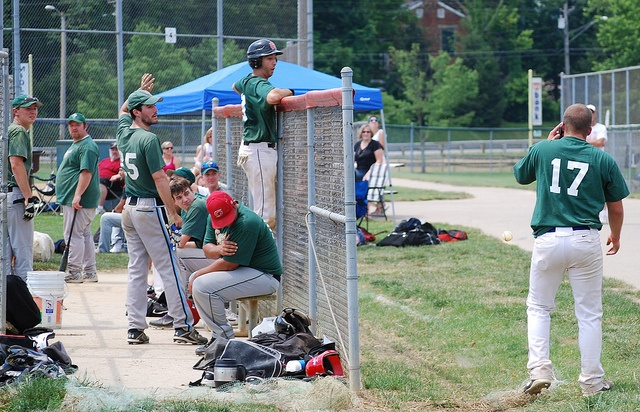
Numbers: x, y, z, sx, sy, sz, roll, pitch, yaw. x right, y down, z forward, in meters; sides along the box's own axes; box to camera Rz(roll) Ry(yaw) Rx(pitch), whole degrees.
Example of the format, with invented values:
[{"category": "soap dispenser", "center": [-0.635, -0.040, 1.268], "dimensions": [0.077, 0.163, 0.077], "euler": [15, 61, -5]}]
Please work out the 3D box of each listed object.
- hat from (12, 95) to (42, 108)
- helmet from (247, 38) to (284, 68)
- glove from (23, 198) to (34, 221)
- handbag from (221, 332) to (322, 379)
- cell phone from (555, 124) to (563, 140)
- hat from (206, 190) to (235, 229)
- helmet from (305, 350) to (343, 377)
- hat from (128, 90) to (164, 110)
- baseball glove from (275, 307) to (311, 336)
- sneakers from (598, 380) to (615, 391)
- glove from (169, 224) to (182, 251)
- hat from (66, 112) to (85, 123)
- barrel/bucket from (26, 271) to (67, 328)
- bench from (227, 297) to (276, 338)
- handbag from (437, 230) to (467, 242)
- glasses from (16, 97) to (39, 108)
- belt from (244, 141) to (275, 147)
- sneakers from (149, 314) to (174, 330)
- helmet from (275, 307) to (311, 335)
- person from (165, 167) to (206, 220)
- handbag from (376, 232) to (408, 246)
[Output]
[{"category": "hat", "center": [-5.685, -1.974, 23.114], "dimensions": [0.427, 0.188, 0.289], "euler": [-11, -1, 27]}, {"category": "helmet", "center": [-1.079, -2.834, 22.150], "dimensions": [0.664, 0.427, 0.469], "euler": [0, 10, 15]}, {"category": "glove", "center": [-5.465, 0.063, 22.868], "dimensions": [0.216, 0.370, 0.267], "euler": [-1, -1, 21]}, {"category": "handbag", "center": [-0.846, 2.547, 20.856], "dimensions": [1.202, 0.385, 0.905], "euler": [-9, -1, -18]}, {"category": "cell phone", "center": [4.179, -1.284, 20.985], "dimensions": [0.094, 0.171, 0.157], "euler": [7, 8, 26]}, {"category": "hat", "center": [-1.694, 0.092, 21.277], "dimensions": [0.501, 0.608, 0.375], "euler": [-14, -17, 16]}, {"category": "helmet", "center": [0.093, 2.713, 20.682], "dimensions": [0.623, 0.468, 0.415], "euler": [7, -30, -7]}, {"category": "hat", "center": [-3.210, -1.942, 22.049], "dimensions": [0.574, 0.249, 0.334], "euler": [-12, 14, 3]}, {"category": "baseball glove", "center": [-0.478, 2.053, 21.233], "dimensions": [0.643, 0.437, 0.374], "euler": [1, 6, -2]}, {"category": "sneakers", "center": [4.868, 3.062, 20.481], "dimensions": [0.145, 0.166, 0.287], "euler": [6, 8, 44]}, {"category": "glove", "center": [-2.785, 0.594, 23.585], "dimensions": [0.207, 0.444, 0.355], "euler": [-6, 4, 17]}, {"category": "hat", "center": [-4.866, -1.764, 24.214], "dimensions": [0.272, 0.173, 0.304], "euler": [2, 5, 12]}, {"category": "barrel/bucket", "center": [-4.998, 1.733, 22.098], "dimensions": [0.661, 1.024, 0.405], "euler": [-1, 6, -15]}, {"category": "bench", "center": [-1.373, 1.966, 22.336], "dimensions": [0.772, 0.700, 1.272], "euler": [13, -5, 12]}, {"category": "handbag", "center": [2.926, 0.664, 26.647], "dimensions": [0.635, 0.238, 0.377], "euler": [1, 5, 6]}, {"category": "glasses", "center": [-5.602, -1.977, 23.068], "dimensions": [0.323, 0.095, 0.216], "euler": [-15, 0, 21]}, {"category": "belt", "center": [-1.097, -1.120, 21.931], "dimensions": [0.590, 0.108, 0.103], "euler": [0, 6, -5]}, {"category": "sneakers", "center": [-2.923, 2.170, 22.424], "dimensions": [0.582, 0.245, 0.195], "euler": [0, -4, 17]}, {"category": "helmet", "center": [-0.490, 2.037, 21.362], "dimensions": [0.619, 0.450, 0.432], "euler": [2, 7, 18]}, {"category": "person", "center": [-2.582, -0.215, 23.133], "dimensions": [1.256, 0.609, 0.459], "euler": [8, 44, 6]}, {"category": "handbag", "center": [1.585, 0.736, 26.354], "dimensions": [0.650, 0.298, 0.387], "euler": [1, 5, 2]}]
